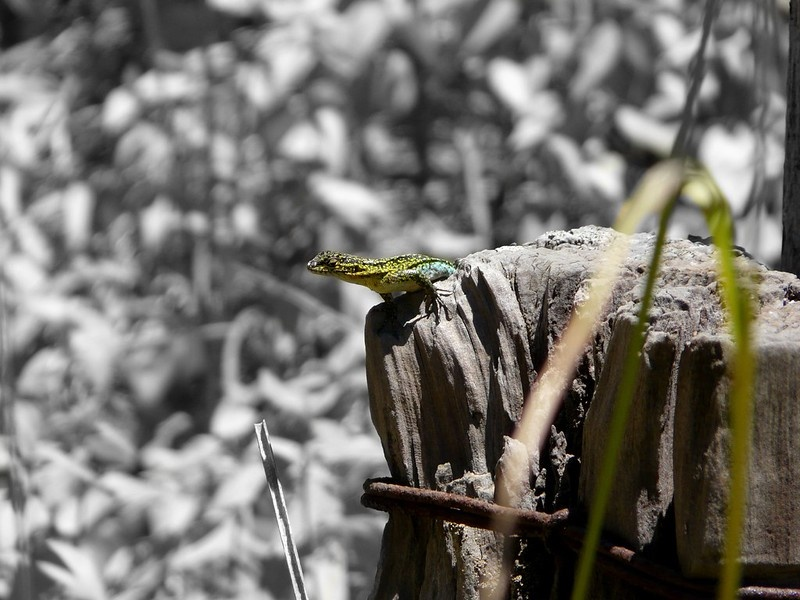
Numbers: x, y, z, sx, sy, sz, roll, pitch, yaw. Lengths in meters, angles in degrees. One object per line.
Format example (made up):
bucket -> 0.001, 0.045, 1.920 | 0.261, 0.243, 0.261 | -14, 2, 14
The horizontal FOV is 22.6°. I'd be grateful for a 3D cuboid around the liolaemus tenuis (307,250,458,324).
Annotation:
liolaemus tenuis -> -0.067, -0.059, 7.462 | 0.421, 0.123, 0.286 | 1, 14, 24
